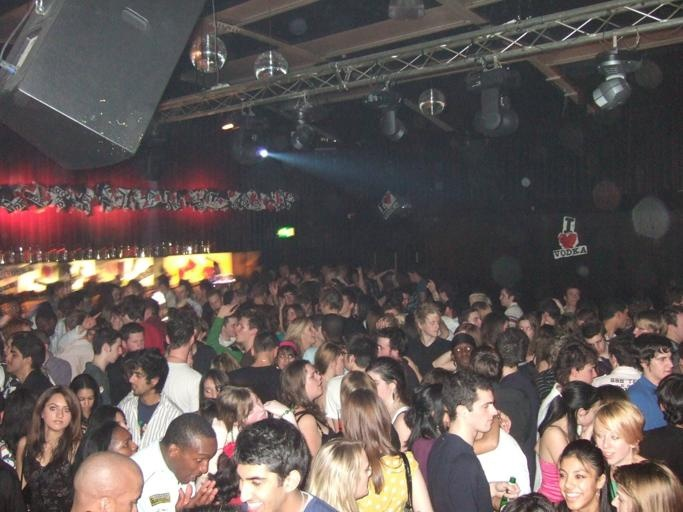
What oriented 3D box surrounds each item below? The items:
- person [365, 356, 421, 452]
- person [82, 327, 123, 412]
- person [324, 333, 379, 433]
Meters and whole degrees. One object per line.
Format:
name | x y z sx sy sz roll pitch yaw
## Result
person | 0.394 1.209 4.524 0.385 0.904 0.551 -6 1 2
person | -1.949 0.949 5.044 0.291 0.779 0.482 -6 12 -28
person | 0.077 1.092 5.038 0.223 0.793 0.367 7 10 8
